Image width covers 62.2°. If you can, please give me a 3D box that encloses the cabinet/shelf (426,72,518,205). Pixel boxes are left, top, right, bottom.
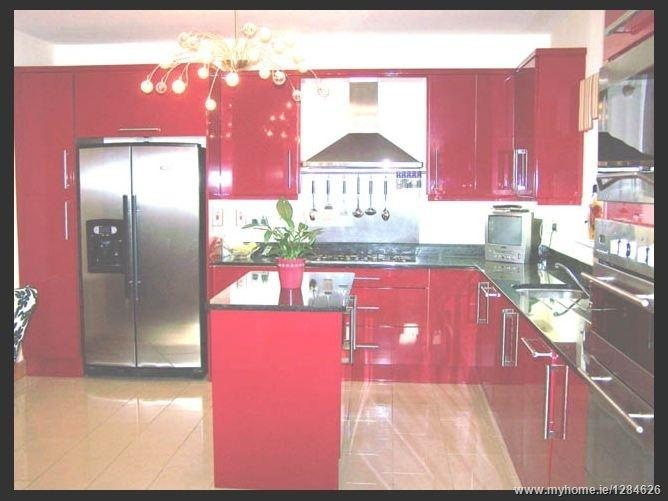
[{"bbox_3d":[1.214,-0.987,5.079,0.787,1.157,0.570,0,-2,3],"label":"cabinet/shelf"}]

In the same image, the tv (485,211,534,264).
[{"bbox_3d":[1.525,-0.135,4.828,0.359,0.426,0.399,-12,15,-41],"label":"tv"}]

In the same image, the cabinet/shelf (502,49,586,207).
[{"bbox_3d":[1.607,-0.943,4.355,0.348,1.152,0.634,-4,7,-25],"label":"cabinet/shelf"}]

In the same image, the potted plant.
[{"bbox_3d":[-0.270,-0.048,3.598,0.433,0.607,0.549,-10,-10,4],"label":"potted plant"}]

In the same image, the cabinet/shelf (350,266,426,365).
[{"bbox_3d":[0.520,0.695,4.850,0.624,0.877,0.433,-4,-33,12],"label":"cabinet/shelf"}]

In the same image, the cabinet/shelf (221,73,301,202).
[{"bbox_3d":[-0.724,-1.043,5.175,0.675,0.984,0.555,-3,33,-12],"label":"cabinet/shelf"}]

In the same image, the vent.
[{"bbox_3d":[0.295,-1.329,5.462,1.343,0.964,0.746,1,15,3],"label":"vent"}]

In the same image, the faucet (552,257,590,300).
[{"bbox_3d":[1.649,0.201,3.839,0.109,0.200,0.531,24,-13,-6],"label":"faucet"}]
